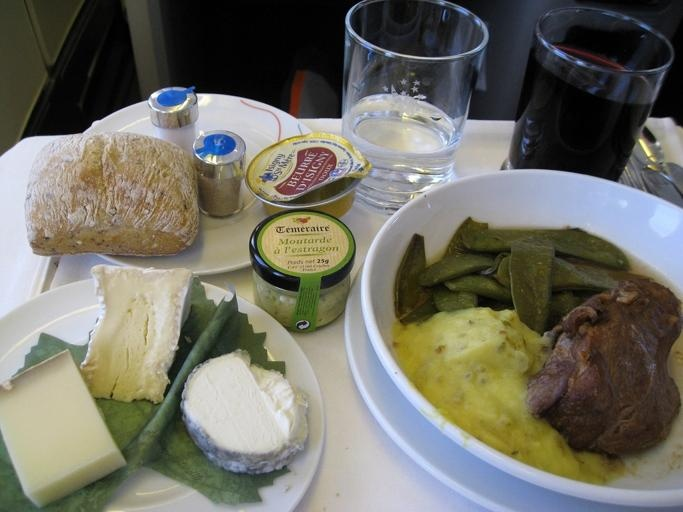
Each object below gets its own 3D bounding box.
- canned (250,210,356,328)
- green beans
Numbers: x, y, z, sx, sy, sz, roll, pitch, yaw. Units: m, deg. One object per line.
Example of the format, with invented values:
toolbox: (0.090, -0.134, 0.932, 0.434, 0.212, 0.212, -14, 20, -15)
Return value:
canned: (-0.063, 0.016, 0.861, 0.156, 0.136, 0.176, -1, 49, -6)
green beans: (0.247, 0.024, 0.882, 0.227, 0.059, 0.211, 16, 48, 12)
